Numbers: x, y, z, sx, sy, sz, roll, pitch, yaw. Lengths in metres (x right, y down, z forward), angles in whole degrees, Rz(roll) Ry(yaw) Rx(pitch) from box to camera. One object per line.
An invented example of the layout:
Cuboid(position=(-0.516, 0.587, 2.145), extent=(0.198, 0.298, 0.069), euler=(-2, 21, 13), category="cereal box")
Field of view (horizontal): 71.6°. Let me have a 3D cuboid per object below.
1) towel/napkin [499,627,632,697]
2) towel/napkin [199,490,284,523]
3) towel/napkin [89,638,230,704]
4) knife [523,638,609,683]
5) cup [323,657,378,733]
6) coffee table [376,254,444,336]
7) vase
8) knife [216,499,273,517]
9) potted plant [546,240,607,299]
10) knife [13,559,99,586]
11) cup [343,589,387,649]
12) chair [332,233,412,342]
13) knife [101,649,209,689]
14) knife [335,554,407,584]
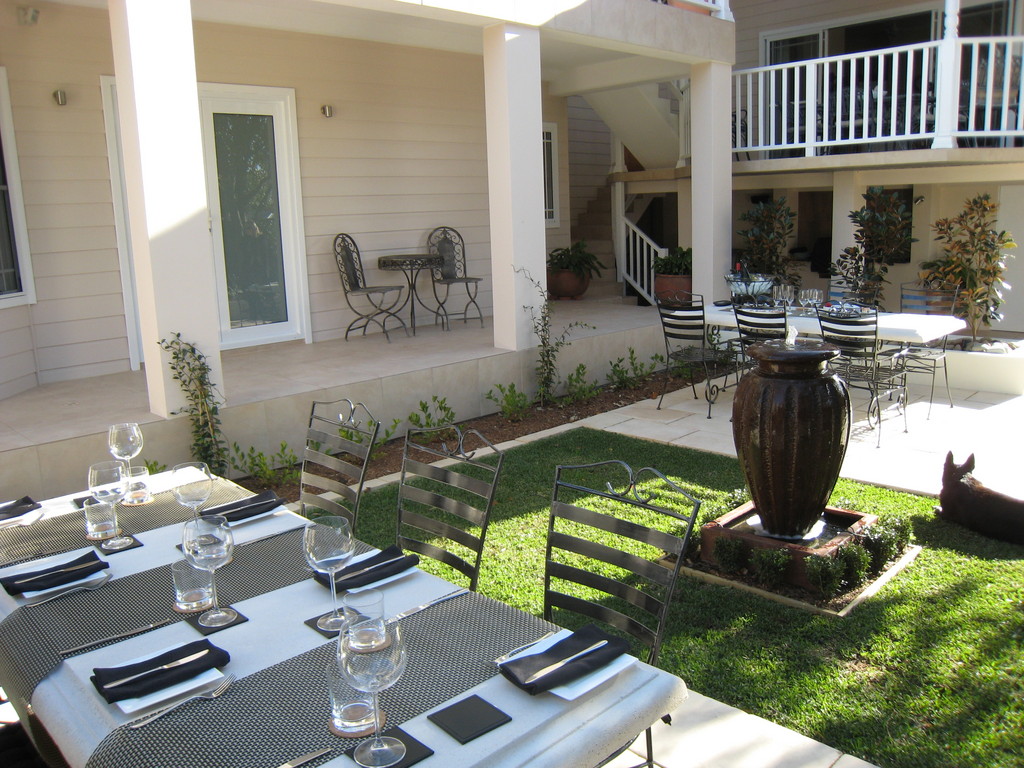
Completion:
Cuboid(position=(0.146, 0.728, 1.960), extent=(0.233, 0.041, 0.156), euler=(-13, 19, -34), category="towel/napkin")
Cuboid(position=(-1.132, 0.518, 3.002), extent=(0.292, 0.055, 0.168), euler=(-15, 24, -42), category="towel/napkin")
Cuboid(position=(-0.972, 0.786, 1.964), extent=(0.250, 0.056, 0.147), euler=(-8, 15, -39), category="towel/napkin")
Cuboid(position=(0.155, 0.765, 1.964), extent=(0.044, 0.028, 0.312), euler=(10, 11, 37), category="knife")
Cuboid(position=(-0.406, 0.802, 1.846), extent=(0.151, 0.184, 0.157), euler=(-3, -16, -1), category="cup")
Cuboid(position=(-1.264, -1.162, 8.928), extent=(0.668, 0.854, 0.723), euler=(-16, 9, -8), category="coffee table")
Cuboid(position=(1.521, 0.339, 3.900), extent=(0.604, 1.083, 0.285), euler=(4, 11, 17), category="vase")
Cuboid(position=(-1.102, 0.519, 3.001), extent=(0.074, 0.027, 0.129), euler=(4, 17, 45), category="knife")
Cuboid(position=(0.985, -1.811, 11.361), extent=(0.812, 0.895, 0.511), euler=(0, 11, -2), category="potted plant")
Cuboid(position=(-1.589, 0.659, 2.508), extent=(0.190, 0.034, 0.111), euler=(-1, 2, -39), category="knife")
Cuboid(position=(-0.356, 0.584, 1.739), extent=(0.071, 0.101, 0.115), euler=(-1, 0, -2), category="cup")
Cuboid(position=(-1.713, -1.229, 8.769), extent=(0.516, 1.247, 1.093), euler=(7, 13, 30), category="chair")
Cuboid(position=(-0.978, 0.790, 1.968), extent=(0.186, 0.016, 0.027), euler=(-11, 25, -41), category="knife")
Cuboid(position=(-0.471, 0.641, 2.443), extent=(0.153, 0.032, 0.093), euler=(-17, 10, -32), category="knife")
